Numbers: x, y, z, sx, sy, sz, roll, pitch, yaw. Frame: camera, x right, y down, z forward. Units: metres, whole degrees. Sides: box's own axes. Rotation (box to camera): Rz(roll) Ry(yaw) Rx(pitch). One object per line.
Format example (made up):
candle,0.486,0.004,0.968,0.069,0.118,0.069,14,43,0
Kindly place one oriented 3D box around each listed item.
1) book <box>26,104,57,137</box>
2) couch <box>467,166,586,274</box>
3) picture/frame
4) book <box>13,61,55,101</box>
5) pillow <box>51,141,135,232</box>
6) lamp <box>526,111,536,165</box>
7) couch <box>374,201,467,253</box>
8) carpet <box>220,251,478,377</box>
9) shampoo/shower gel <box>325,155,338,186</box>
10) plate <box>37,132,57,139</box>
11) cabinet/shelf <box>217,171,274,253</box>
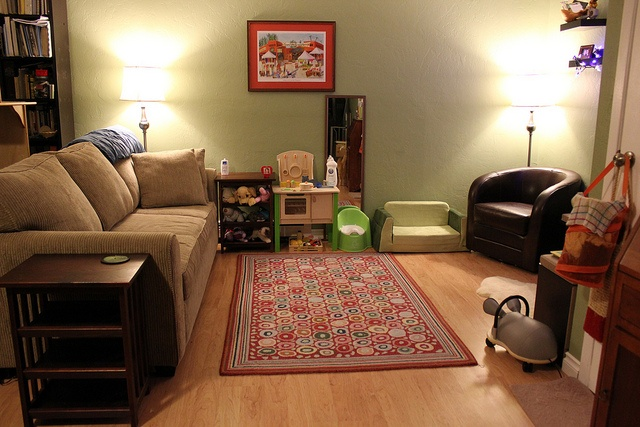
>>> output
book,-2.913,-0.985,4.803,0.369,0.356,0.207,0,7,-2
couch,2.096,0.034,4.907,1.104,1.176,1.153,-6,13,-28
picture/frame,-0.350,-1.758,4.978,0.804,0.569,0.034,0,10,-4
book,-2.951,-1.394,4.745,0.418,0.392,0.219,0,3,-1
pillow,-1.723,-0.239,3.535,0.202,0.635,0.667,-29,5,9
lamp,2.413,-0.868,5.268,0.102,0.646,0.328,6,19,24
couch,1.097,0.146,5.160,1.018,0.503,0.513,-3,17,-6
carpet,0.106,0.737,3.910,1.845,0.024,2.048,0,17,-2
shampoo/shower gel,0.130,-0.480,5.119,0.128,0.325,0.256,-1,17,2
plate,-2.859,-0.836,4.810,0.109,0.042,0.108,0,2,-8
cabinet/shelf,-0.823,0.011,5.003,0.649,0.766,0.483,-1,1,-14
